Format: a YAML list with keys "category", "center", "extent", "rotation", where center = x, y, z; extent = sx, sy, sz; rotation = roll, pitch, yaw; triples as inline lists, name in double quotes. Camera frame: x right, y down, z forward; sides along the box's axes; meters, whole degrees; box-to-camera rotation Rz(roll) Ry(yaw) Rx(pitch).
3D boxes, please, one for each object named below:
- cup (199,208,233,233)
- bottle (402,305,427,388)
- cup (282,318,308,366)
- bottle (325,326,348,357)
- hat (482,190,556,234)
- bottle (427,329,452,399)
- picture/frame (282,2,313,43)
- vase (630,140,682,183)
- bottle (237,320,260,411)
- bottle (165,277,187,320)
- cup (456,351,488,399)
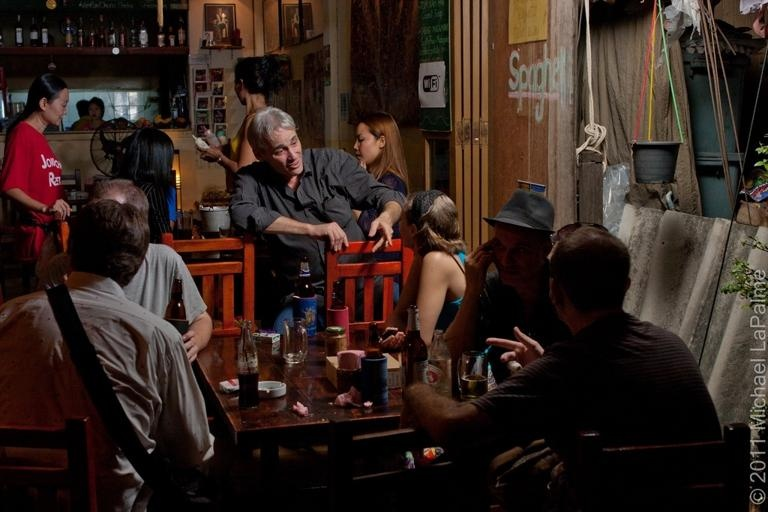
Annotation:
- category: "cup"
  center: [-1.251, -0.272, 4.928]
  extent: [0.242, 0.223, 0.229]
  rotation: [0, 5, 0]
- category: "bottle"
  center: [0.129, 0.354, 2.617]
  extent: [0.096, 0.323, 0.277]
  rotation: [0, 7, -3]
- category: "cup"
  center: [-0.416, 0.390, 3.077]
  extent: [0.107, 0.204, 0.135]
  rotation: [-2, 7, -15]
- category: "bottle"
  center: [-0.222, 0.392, 3.077]
  extent: [0.114, 0.124, 0.116]
  rotation: [2, 2, 21]
- category: "hat"
  center: [0.618, -0.195, 2.917]
  extent: [0.406, 0.162, 0.316]
  rotation: [16, 6, 16]
- category: "bottle"
  center: [0.220, 0.424, 2.610]
  extent: [0.096, 0.263, 0.137]
  rotation: [1, 6, 5]
- category: "picture/frame"
  center: [-1.028, -2.719, 7.730]
  extent: [0.165, 0.527, 1.012]
  rotation: [-2, 7, -21]
- category: "vase"
  center: [1.414, -0.472, 3.440]
  extent: [0.211, 0.170, 0.216]
  rotation: [0, 1, 15]
- category: "bottle"
  center: [-0.563, 0.431, 2.757]
  extent: [0.080, 0.325, 0.238]
  rotation: [-1, 7, -10]
- category: "bottle"
  center: [-1.015, 0.212, 3.219]
  extent: [0.172, 0.176, 0.045]
  rotation: [1, 3, -44]
- category: "cup"
  center: [0.353, 0.464, 2.614]
  extent: [0.119, 0.186, 0.184]
  rotation: [1, 7, 8]
